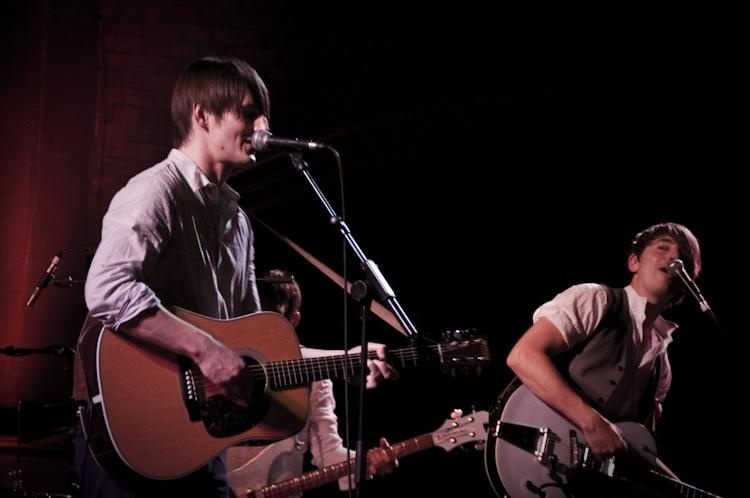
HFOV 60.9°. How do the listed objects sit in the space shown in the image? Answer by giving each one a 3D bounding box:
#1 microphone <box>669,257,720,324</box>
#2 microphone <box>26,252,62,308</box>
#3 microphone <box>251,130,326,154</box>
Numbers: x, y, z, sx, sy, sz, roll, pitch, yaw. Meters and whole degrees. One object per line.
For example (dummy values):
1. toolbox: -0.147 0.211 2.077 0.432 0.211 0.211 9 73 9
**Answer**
1. microphone: 2.353 0.330 4.731 0.101 0.538 0.109 -31 -30 -3
2. microphone: -2.503 0.242 4.789 0.085 0.478 0.082 44 19 20
3. microphone: -0.491 -0.607 3.597 0.509 0.113 0.178 1 1 28
